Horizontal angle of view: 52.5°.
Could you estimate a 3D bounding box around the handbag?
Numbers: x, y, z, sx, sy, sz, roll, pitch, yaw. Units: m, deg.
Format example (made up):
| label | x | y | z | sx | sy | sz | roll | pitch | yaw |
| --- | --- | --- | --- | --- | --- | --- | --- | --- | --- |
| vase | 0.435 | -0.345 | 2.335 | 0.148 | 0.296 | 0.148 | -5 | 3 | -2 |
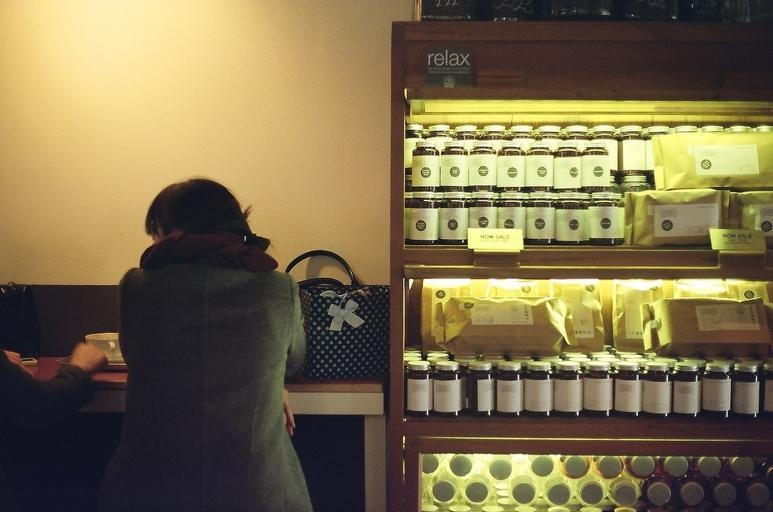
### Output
| label | x | y | z | sx | sy | sz | roll | pitch | yaw |
| --- | --- | --- | --- | --- | --- | --- | --- | --- | --- |
| handbag | -0.285 | 0.368 | 4.187 | 0.397 | 0.491 | 0.540 | 0 | 0 | -8 |
